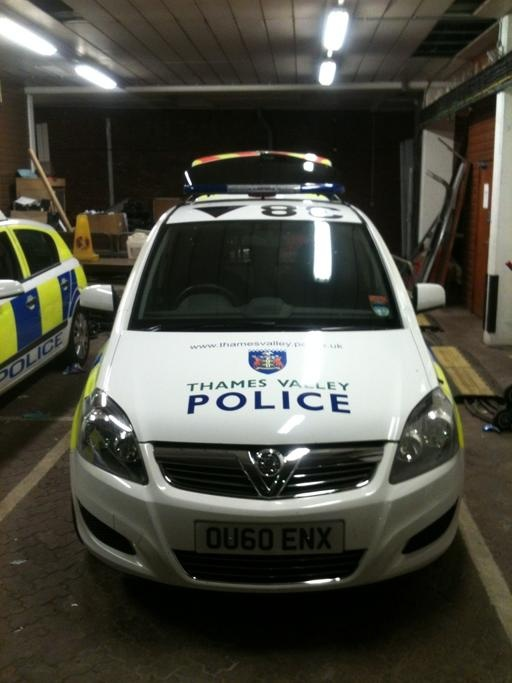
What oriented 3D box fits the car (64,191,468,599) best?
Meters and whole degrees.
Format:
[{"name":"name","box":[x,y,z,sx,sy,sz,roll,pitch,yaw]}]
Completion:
[{"name":"car","box":[0.086,-0.086,2.313,1.120,0.876,2.084,0,24,3]}]
